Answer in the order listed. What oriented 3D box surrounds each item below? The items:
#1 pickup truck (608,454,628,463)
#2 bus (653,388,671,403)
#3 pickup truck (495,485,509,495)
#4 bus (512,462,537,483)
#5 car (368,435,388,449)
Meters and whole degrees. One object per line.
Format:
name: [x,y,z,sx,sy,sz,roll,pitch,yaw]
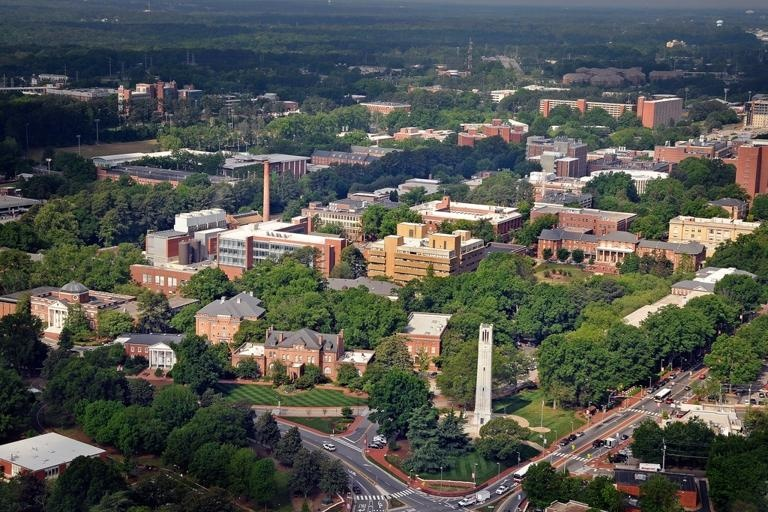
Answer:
pickup truck: [22.342,19.550,133.475,1.485,0.450,0.864,1,56,1]
bus: [28.498,14.483,142.503,1.122,0.410,1.657,20,43,40]
pickup truck: [11.057,22.193,131.199,0.881,0.415,1.273,14,21,34]
bus: [13.098,20.719,132.229,1.076,0.982,3.728,-1,3,33]
car: [-0.741,18.409,137.232,1.831,0.843,1.519,-2,18,-15]
